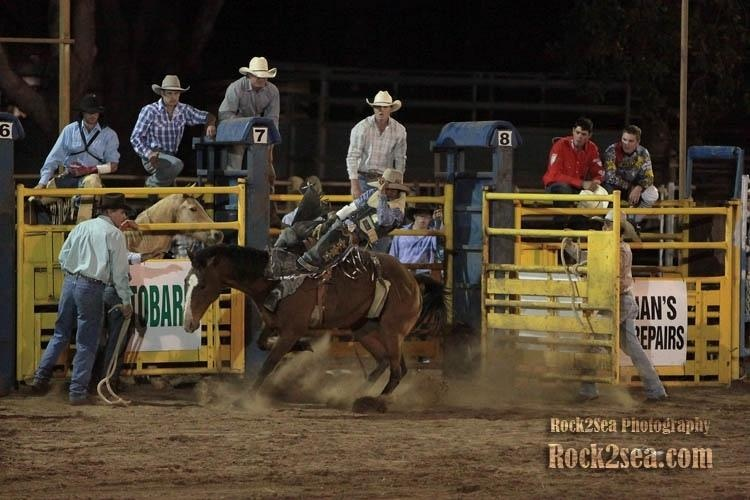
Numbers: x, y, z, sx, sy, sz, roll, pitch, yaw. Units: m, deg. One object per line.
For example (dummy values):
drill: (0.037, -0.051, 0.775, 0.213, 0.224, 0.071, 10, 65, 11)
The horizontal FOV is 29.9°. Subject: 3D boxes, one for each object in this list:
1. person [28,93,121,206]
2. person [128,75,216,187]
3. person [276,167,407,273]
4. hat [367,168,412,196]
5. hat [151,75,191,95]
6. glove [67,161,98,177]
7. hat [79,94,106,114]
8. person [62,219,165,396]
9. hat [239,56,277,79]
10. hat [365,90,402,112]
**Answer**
person: (-4.463, -1.355, 21.290, 1.163, 1.805, 1.018, 4, 11, -8)
person: (-3.185, -1.760, 21.594, 1.005, 1.681, 0.506, 2, -1, -18)
person: (-0.545, -0.180, 20.343, 1.951, 1.164, 1.242, -17, -25, -20)
hat: (0.260, -0.929, 20.316, 0.467, 0.187, 0.372, 15, -3, -23)
hat: (-3.188, -2.463, 21.790, 0.510, 0.240, 0.602, -2, 1, -14)
glove: (-4.367, -1.156, 21.164, 0.308, 0.148, 0.231, 2, 7, -8)
hat: (-4.297, -2.141, 21.495, 0.399, 0.291, 0.549, -2, 7, -13)
person: (-3.935, 0.775, 20.002, 1.071, 2.602, 0.825, 2, -2, -22)
hat: (-1.812, -2.734, 22.022, 0.481, 0.258, 0.565, -1, 1, -15)
hat: (0.195, -2.288, 22.094, 0.409, 0.350, 1.151, 2, -1, 2)
